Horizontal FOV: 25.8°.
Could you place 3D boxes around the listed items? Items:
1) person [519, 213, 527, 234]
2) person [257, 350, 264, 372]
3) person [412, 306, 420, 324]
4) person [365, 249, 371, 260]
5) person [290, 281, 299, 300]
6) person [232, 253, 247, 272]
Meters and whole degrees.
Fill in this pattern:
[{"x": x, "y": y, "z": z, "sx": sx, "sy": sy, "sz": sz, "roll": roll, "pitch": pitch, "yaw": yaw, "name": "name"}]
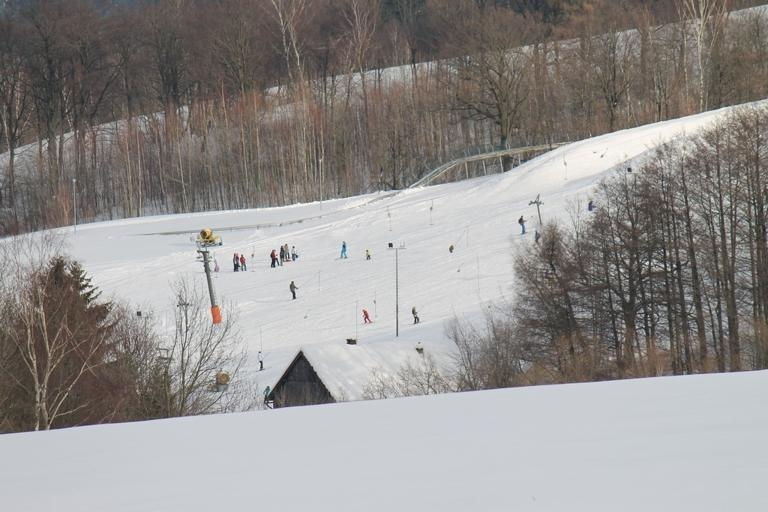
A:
[{"x": 8.050, "y": -1.821, "z": 98.812, "sx": 0.461, "sy": 0.740, "sz": 1.142, "roll": -7, "pitch": 4, "yaw": 5, "name": "person"}, {"x": -7.070, "y": 5.845, "z": 94.265, "sx": 0.331, "sy": 0.784, "sz": 1.331, "roll": -7, "pitch": 4, "yaw": -5, "name": "person"}, {"x": 1.683, "y": 3.308, "z": 95.070, "sx": 0.374, "sy": 0.691, "sz": 0.767, "roll": -7, "pitch": 4, "yaw": 1, "name": "person"}, {"x": -1.096, "y": -0.082, "z": 100.278, "sx": 0.346, "sy": 0.456, "sz": 0.989, "roll": -7, "pitch": 4, "yaw": 0, "name": "person"}, {"x": -5.437, "y": 1.973, "z": 98.280, "sx": 0.520, "sy": 0.814, "sz": 0.983, "roll": -7, "pitch": 4, "yaw": 4, "name": "person"}, {"x": -8.919, "y": 0.380, "z": 101.500, "sx": 0.948, "sy": 1.612, "sz": 0.752, "roll": -6, "pitch": 7, "yaw": -21, "name": "person"}]
